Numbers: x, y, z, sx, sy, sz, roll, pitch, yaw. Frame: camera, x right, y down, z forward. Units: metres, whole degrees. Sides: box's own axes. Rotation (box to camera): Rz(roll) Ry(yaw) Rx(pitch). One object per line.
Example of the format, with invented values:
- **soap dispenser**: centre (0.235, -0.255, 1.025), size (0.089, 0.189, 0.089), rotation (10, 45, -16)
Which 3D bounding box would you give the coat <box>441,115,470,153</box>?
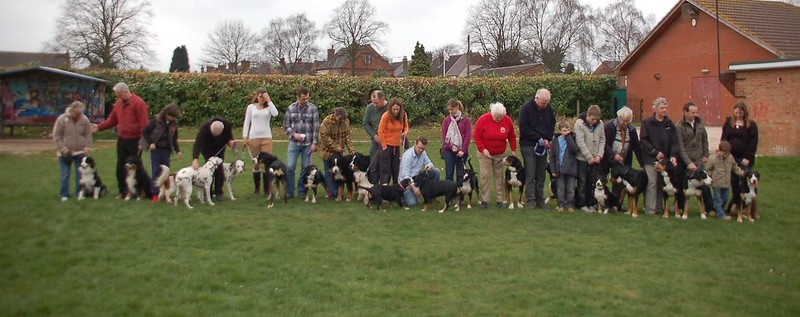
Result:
- **coat**: centre (3.191, -1.497, 35.403), size (1.806, 2.041, 1.127), rotation (2, 5, 2)
